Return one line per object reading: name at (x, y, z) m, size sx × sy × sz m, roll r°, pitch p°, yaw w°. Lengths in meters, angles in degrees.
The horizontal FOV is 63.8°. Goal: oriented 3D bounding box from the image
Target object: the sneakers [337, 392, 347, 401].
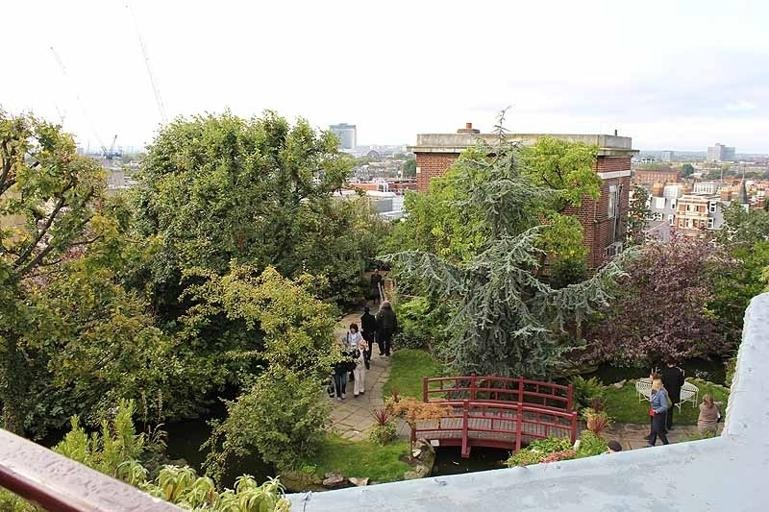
sneakers at (-1.044, 3.379, 14.862) m, size 0.185 × 0.200 × 0.532 m, roll 0°, pitch -4°, yaw -2°
